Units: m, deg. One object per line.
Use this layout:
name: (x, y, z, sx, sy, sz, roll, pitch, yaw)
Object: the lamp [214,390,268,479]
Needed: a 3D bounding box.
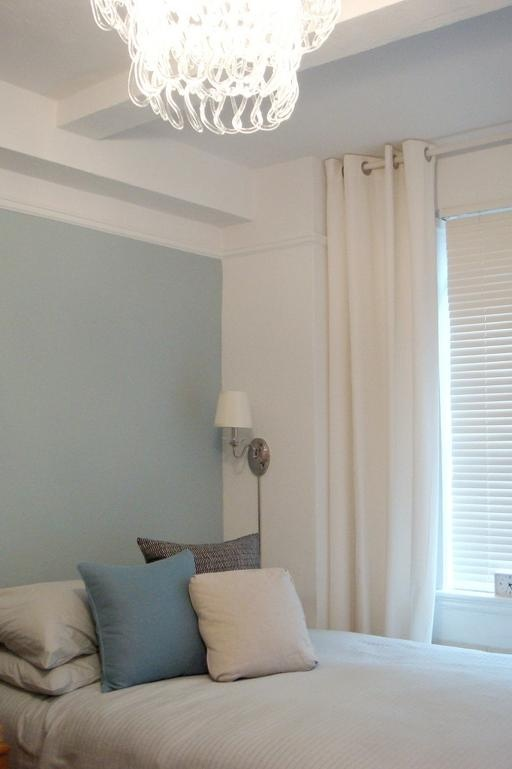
lamp: (-0.083, 0.294, 3.523, 0.289, 0.512, 0.214, 2, -1, -32)
